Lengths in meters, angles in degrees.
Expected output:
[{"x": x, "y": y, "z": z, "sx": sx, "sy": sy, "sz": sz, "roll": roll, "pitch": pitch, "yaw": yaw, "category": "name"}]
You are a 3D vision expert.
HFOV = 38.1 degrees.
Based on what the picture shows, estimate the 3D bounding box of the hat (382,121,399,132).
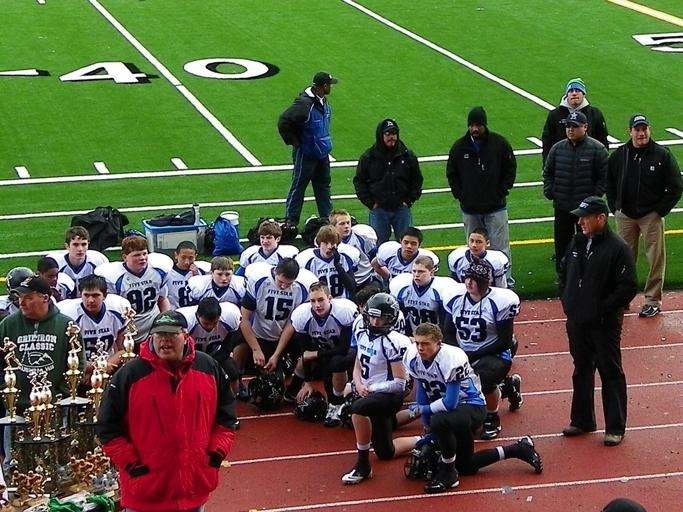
[{"x": 0.642, "y": -1.707, "z": 12.938, "sx": 0.210, "sy": 0.149, "sz": 0.334, "roll": -5, "pitch": 6, "yaw": 0, "category": "hat"}]

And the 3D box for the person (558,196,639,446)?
[{"x": 2.569, "y": 0.655, "z": 9.876, "sx": 0.765, "sy": 2.471, "sz": 0.470, "roll": -2, "pitch": 11, "yaw": 21, "category": "person"}]

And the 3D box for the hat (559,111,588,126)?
[{"x": 2.918, "y": -1.706, "z": 12.252, "sx": 0.194, "sy": 0.140, "sz": 0.301, "roll": 3, "pitch": 5, "yaw": 43, "category": "hat"}]

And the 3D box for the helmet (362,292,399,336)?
[{"x": 0.397, "y": 0.536, "z": 9.594, "sx": 0.313, "sy": 0.355, "sz": 0.429, "roll": 11, "pitch": 16, "yaw": 19, "category": "helmet"}]

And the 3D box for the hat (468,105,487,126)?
[{"x": 1.747, "y": -1.792, "z": 12.576, "sx": 0.251, "sy": 0.270, "sz": 0.286, "roll": 1, "pitch": 11, "yaw": 12, "category": "hat"}]

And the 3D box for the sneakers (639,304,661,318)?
[{"x": 3.863, "y": 0.694, "z": 12.389, "sx": 0.338, "sy": 0.143, "sz": 0.115, "roll": -6, "pitch": 7, "yaw": -37, "category": "sneakers"}]

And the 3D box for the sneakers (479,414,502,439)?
[{"x": 1.535, "y": 1.751, "z": 10.113, "sx": 0.120, "sy": 0.225, "sz": 0.348, "roll": 4, "pitch": 10, "yaw": 31, "category": "sneakers"}]

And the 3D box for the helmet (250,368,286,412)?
[{"x": -0.824, "y": 1.404, "z": 10.731, "sx": 0.356, "sy": 0.471, "sz": 0.281, "roll": -19, "pitch": 33, "yaw": -34, "category": "helmet"}]

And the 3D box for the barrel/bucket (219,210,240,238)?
[{"x": -1.567, "y": -0.487, "z": 14.146, "sx": 0.304, "sy": 0.288, "sz": 0.290, "roll": -1, "pitch": 22, "yaw": 0, "category": "barrel/bucket"}]

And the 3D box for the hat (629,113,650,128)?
[{"x": 3.572, "y": -1.614, "z": 11.865, "sx": 0.199, "sy": 0.148, "sz": 0.277, "roll": -1, "pitch": 2, "yaw": 12, "category": "hat"}]

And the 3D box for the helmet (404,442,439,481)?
[{"x": 0.778, "y": 1.968, "z": 9.423, "sx": 0.370, "sy": 0.346, "sz": 0.304, "roll": -5, "pitch": 4, "yaw": -36, "category": "helmet"}]

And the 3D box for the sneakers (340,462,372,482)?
[{"x": 0.159, "y": 2.089, "z": 9.469, "sx": 0.295, "sy": 0.135, "sz": 0.129, "roll": -7, "pitch": 15, "yaw": -23, "category": "sneakers"}]

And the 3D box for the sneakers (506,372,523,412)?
[{"x": 1.859, "y": 1.496, "z": 10.628, "sx": 0.222, "sy": 0.429, "sz": 0.155, "roll": -8, "pitch": 19, "yaw": -4, "category": "sneakers"}]

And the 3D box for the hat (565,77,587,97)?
[{"x": 3.106, "y": -2.231, "z": 13.113, "sx": 0.206, "sy": 0.208, "sz": 0.470, "roll": -1, "pitch": 10, "yaw": 20, "category": "hat"}]

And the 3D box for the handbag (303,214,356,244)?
[{"x": -0.248, "y": -0.332, "z": 13.832, "sx": 0.569, "sy": 0.270, "sz": 0.423, "roll": -8, "pitch": 6, "yaw": 2, "category": "handbag"}]

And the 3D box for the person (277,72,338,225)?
[{"x": -0.470, "y": -1.554, "z": 14.420, "sx": 0.943, "sy": 2.181, "sz": 0.541, "roll": -9, "pitch": 11, "yaw": -19, "category": "person"}]

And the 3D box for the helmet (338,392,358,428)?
[{"x": 0.051, "y": 1.620, "z": 10.271, "sx": 0.204, "sy": 0.424, "sz": 0.155, "roll": -5, "pitch": 18, "yaw": -30, "category": "helmet"}]

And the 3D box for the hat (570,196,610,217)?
[{"x": 2.457, "y": -0.485, "z": 9.762, "sx": 0.336, "sy": 0.159, "sz": 0.220, "roll": -4, "pitch": 7, "yaw": -2, "category": "hat"}]

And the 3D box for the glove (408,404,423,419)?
[{"x": 0.750, "y": 1.552, "z": 9.799, "sx": 0.132, "sy": 0.062, "sz": 0.174, "roll": -12, "pitch": -8, "yaw": -7, "category": "glove"}]

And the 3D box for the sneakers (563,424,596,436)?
[{"x": 2.404, "y": 1.787, "z": 10.112, "sx": 0.356, "sy": 0.136, "sz": 0.117, "roll": 2, "pitch": 7, "yaw": -8, "category": "sneakers"}]

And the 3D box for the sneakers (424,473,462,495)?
[{"x": 0.952, "y": 2.136, "z": 9.246, "sx": 0.347, "sy": 0.140, "sz": 0.130, "roll": 0, "pitch": -1, "yaw": -27, "category": "sneakers"}]

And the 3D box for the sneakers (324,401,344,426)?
[{"x": -0.079, "y": 1.684, "z": 10.401, "sx": 0.120, "sy": 0.130, "sz": 0.312, "roll": -1, "pitch": 10, "yaw": 26, "category": "sneakers"}]

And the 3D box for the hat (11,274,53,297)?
[{"x": -2.699, "y": 0.268, "z": 8.758, "sx": 0.249, "sy": 0.136, "sz": 0.173, "roll": 5, "pitch": -4, "yaw": -33, "category": "hat"}]
